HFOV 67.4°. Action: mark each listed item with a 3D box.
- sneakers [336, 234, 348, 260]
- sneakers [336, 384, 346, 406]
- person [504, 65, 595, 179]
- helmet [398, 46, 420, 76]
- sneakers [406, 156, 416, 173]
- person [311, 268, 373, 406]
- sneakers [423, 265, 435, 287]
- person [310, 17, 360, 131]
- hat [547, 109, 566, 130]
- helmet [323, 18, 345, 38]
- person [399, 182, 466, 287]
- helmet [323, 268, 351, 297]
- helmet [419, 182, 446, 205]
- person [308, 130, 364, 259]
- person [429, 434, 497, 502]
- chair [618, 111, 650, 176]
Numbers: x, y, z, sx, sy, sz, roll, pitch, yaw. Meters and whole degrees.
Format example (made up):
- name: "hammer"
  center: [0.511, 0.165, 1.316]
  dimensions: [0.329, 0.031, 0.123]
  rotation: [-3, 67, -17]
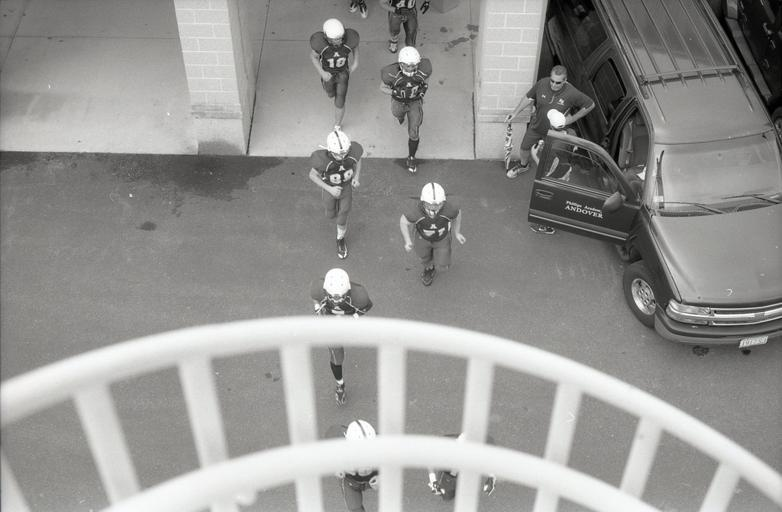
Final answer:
- name: "sneakers"
  center: [-0.809, -0.157, 9.781]
  dimensions: [0.155, 0.271, 0.389]
  rotation: [-6, 60, -4]
- name: "sneakers"
  center: [-0.714, 1.975, 8.350]
  dimensions: [0.116, 0.299, 0.305]
  rotation: [-5, 72, -1]
- name: "person"
  center: [2.676, -2.219, 10.265]
  dimensions: [1.211, 2.286, 0.859]
  rotation: [23, 51, 19]
- name: "helmet"
  center: [0.272, -3.420, 10.175]
  dimensions: [0.393, 0.415, 0.453]
  rotation: [-10, 69, -8]
- name: "sneakers"
  center: [0.377, -1.699, 10.848]
  dimensions: [0.112, 0.137, 0.333]
  rotation: [-8, 55, -4]
- name: "person"
  center: [-0.654, 1.059, 8.123]
  dimensions: [0.810, 1.945, 0.997]
  rotation: [-4, 38, -7]
- name: "sneakers"
  center: [0.600, 0.300, 9.462]
  dimensions: [0.160, 0.165, 0.354]
  rotation: [5, 80, 17]
- name: "person"
  center: [-0.995, -3.398, 10.951]
  dimensions: [0.822, 1.995, 0.906]
  rotation: [13, 39, 14]
- name: "hat"
  center: [2.684, -2.254, 9.569]
  dimensions: [0.255, 0.109, 0.364]
  rotation: [-12, 73, -5]
- name: "helmet"
  center: [-1.007, -4.025, 10.350]
  dimensions: [0.384, 0.266, 0.338]
  rotation: [-3, 38, -6]
- name: "person"
  center: [0.650, -0.291, 9.148]
  dimensions: [0.972, 2.075, 0.793]
  rotation: [-15, 46, -10]
- name: "helmet"
  center: [-0.715, 0.299, 7.774]
  dimensions: [0.316, 0.365, 0.326]
  rotation: [2, 18, 1]
- name: "helmet"
  center: [0.613, -0.934, 8.629]
  dimensions: [0.326, 0.346, 0.418]
  rotation: [-3, 25, -5]
- name: "person"
  center: [-0.871, -1.081, 9.512]
  dimensions: [0.654, 2.095, 0.791]
  rotation: [18, 41, 20]
- name: "person"
  center: [0.927, 2.738, 7.183]
  dimensions: [0.892, 1.167, 0.571]
  rotation: [3, 38, 1]
- name: "chair"
  center: [3.856, -1.779, 9.228]
  dimensions: [0.305, 0.840, 0.625]
  rotation: [6, 15, -32]
